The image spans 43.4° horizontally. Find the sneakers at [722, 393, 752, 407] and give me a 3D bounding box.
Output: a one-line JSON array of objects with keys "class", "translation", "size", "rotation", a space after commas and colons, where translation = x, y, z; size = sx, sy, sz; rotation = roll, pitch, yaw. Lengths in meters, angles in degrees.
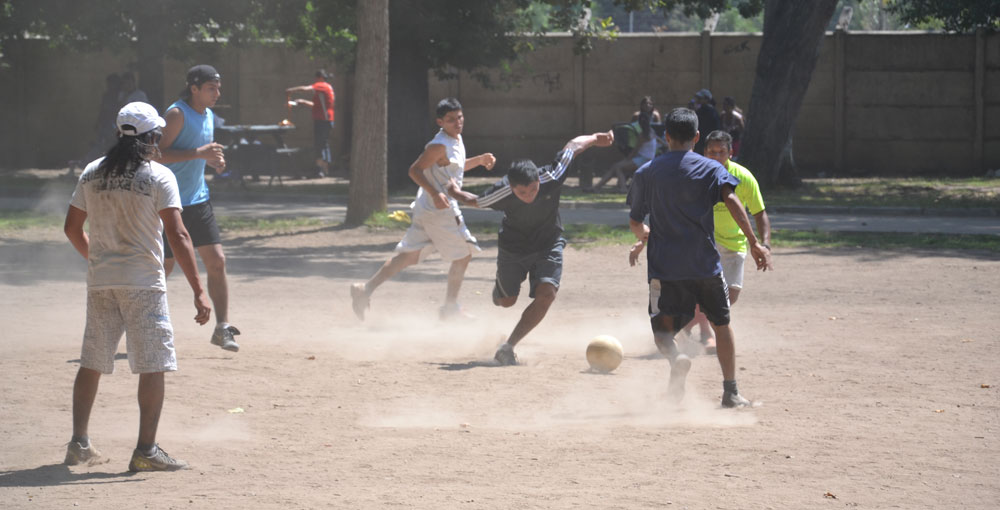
[{"class": "sneakers", "translation": [3.584, 2.230, 19.160], "size": [0.494, 0.181, 0.163], "rotation": [-1, 6, -10]}]

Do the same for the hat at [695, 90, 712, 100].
[{"class": "hat", "translation": [4.940, -3.802, 30.341], "size": [0.479, 0.228, 0.635], "rotation": [3, 7, 8]}]

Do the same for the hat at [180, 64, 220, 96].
[{"class": "hat", "translation": [-4.802, -2.776, 20.280], "size": [0.568, 0.486, 0.602], "rotation": [1, 10, -3]}]

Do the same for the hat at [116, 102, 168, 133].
[{"class": "hat", "translation": [-5.131, -1.900, 18.087], "size": [0.604, 0.280, 0.447], "rotation": [-21, 34, -36]}]

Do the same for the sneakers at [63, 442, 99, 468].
[{"class": "sneakers", "translation": [-5.988, 2.876, 18.025], "size": [0.255, 0.217, 0.556], "rotation": [9, 7, 44]}]
